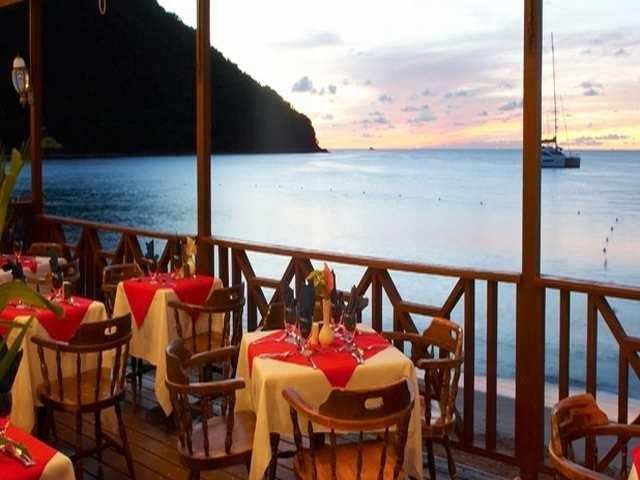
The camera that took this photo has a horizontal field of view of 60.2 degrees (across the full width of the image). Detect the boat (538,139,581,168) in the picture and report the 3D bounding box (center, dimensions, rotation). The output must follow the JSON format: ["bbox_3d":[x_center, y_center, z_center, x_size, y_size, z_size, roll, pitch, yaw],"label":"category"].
[{"bbox_3d":[13.378,-4.870,30.954,2.190,1.688,2.382,6,10,35],"label":"boat"}]
